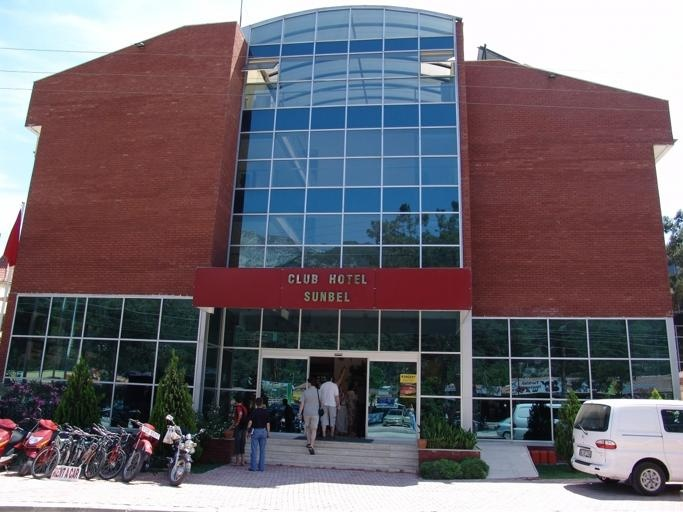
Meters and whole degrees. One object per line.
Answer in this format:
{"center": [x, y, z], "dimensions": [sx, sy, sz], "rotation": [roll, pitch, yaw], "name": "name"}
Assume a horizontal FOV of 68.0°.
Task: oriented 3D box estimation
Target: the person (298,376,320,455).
{"center": [-1.104, 5.552, 17.589], "dimensions": [0.671, 2.520, 1.025], "rotation": [2, -15, -1], "name": "person"}

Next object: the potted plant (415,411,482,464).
{"center": [3.489, 6.046, 16.964], "dimensions": [1.821, 0.836, 1.561], "rotation": [0, -6, 6], "name": "potted plant"}

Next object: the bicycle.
{"center": [-6.979, 5.286, 13.741], "dimensions": [2.652, 1.158, 1.121], "rotation": [2, -13, 11], "name": "bicycle"}

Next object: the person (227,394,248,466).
{"center": [-3.450, 5.934, 17.129], "dimensions": [0.516, 1.956, 1.009], "rotation": [4, -15, -9], "name": "person"}

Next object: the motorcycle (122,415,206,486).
{"center": [-5.027, 5.231, 13.923], "dimensions": [1.661, 1.734, 2.000], "rotation": [7, -15, -22], "name": "motorcycle"}

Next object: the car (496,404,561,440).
{"center": [6.941, 6.259, 19.633], "dimensions": [2.821, 1.080, 1.386], "rotation": [2, -8, 0], "name": "car"}

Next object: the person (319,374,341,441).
{"center": [-0.480, 5.509, 18.320], "dimensions": [0.668, 2.034, 1.033], "rotation": [2, -15, 0], "name": "person"}
